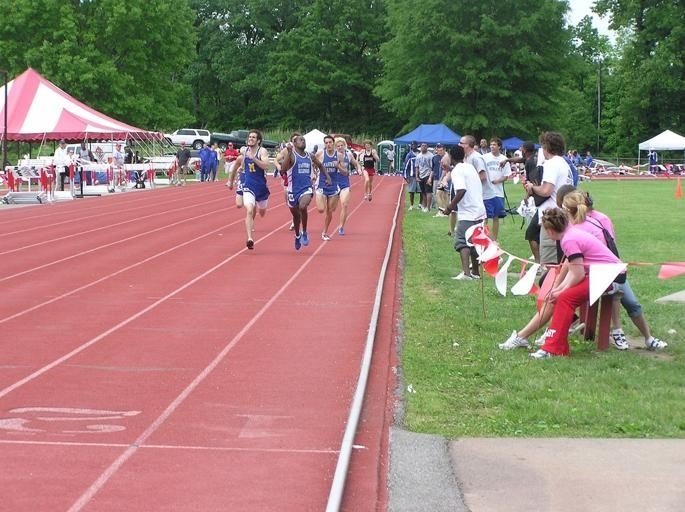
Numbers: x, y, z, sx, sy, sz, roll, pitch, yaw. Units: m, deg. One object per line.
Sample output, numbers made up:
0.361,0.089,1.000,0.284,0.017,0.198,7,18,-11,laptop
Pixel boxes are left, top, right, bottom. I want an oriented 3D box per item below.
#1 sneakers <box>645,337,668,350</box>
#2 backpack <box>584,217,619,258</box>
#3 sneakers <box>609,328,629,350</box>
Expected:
3.226,0.897,8.263,0.205,0.100,0.108,3,43,28,sneakers
2.704,-0.186,8.209,0.326,0.355,0.359,7,7,42,backpack
2.859,0.832,8.297,0.110,0.127,0.286,-14,26,-8,sneakers
